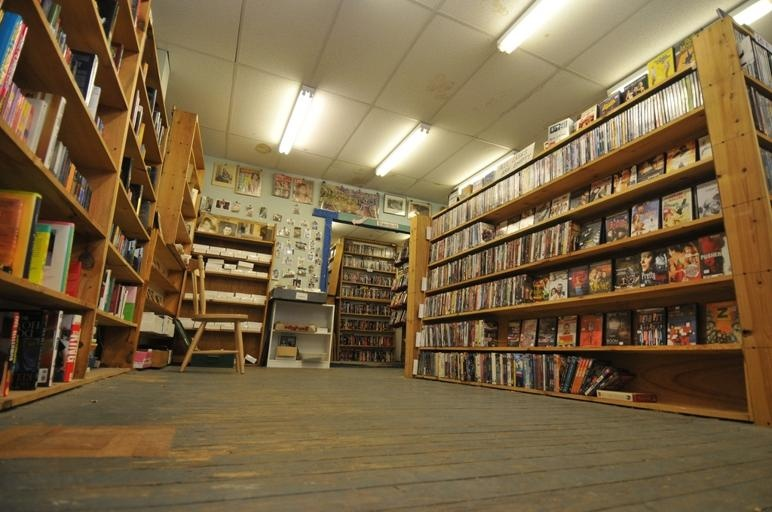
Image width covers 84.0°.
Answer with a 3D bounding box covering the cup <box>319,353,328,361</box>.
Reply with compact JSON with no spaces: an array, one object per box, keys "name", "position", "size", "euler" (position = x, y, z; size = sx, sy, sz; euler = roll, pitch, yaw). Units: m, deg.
[{"name":"cup","position":[-0.908,1.469,6.244],"size":[0.157,0.122,0.078],"euler":[7,-15,-31]}]
